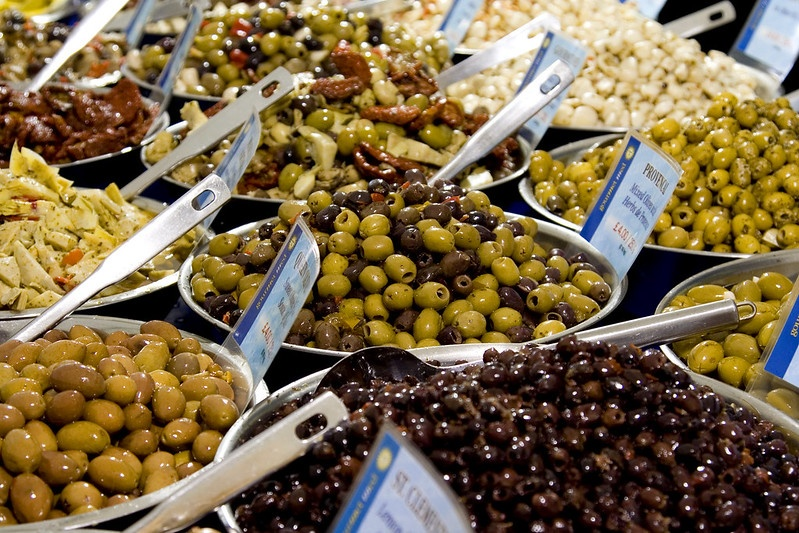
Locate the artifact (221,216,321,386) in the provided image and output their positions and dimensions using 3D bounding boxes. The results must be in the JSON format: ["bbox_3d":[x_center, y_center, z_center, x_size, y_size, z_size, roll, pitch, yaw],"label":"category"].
[{"bbox_3d":[-0.462,0.153,2.736,0.237,0.620,0.304,-15,53,-34],"label":"artifact"}]

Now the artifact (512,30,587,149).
[{"bbox_3d":[0.784,-0.948,4.119,0.254,0.674,0.446,25,41,3],"label":"artifact"}]
